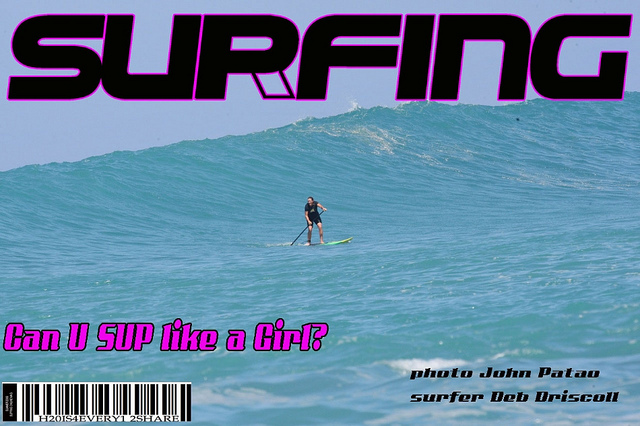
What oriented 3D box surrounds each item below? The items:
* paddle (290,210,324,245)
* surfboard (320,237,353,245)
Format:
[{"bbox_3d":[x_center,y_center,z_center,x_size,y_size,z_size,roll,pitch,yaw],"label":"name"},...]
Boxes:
[{"bbox_3d":[-0.478,0.706,27.744,3.089,0.299,0.157,-26,-56,35],"label":"paddle"},{"bbox_3d":[0.672,1.112,25.368,1.325,0.090,0.131,-9,23,-27],"label":"surfboard"}]
